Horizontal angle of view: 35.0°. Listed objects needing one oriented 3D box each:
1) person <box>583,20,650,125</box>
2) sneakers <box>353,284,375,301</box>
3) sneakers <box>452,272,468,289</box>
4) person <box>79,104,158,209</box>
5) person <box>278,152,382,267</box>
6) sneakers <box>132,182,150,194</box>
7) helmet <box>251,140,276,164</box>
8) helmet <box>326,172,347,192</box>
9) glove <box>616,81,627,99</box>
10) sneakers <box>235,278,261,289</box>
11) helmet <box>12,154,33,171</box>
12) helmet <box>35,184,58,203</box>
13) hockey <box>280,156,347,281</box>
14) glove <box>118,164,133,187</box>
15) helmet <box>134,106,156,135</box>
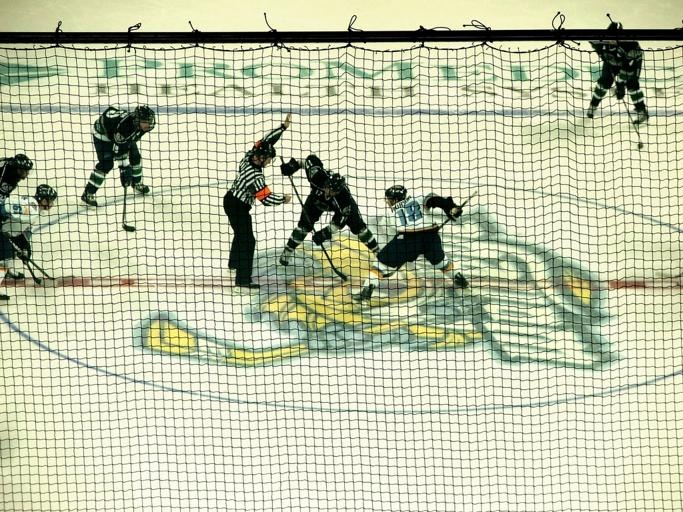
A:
[{"bbox_3d":[2.856,-1.933,11.345,0.746,0.867,0.465,-11,36,-10],"label":"person"},{"bbox_3d":[0.227,0.365,10.674,0.153,0.071,0.200,17,-44,-28],"label":"sneakers"},{"bbox_3d":[1.176,0.228,10.816,0.124,0.168,0.049,-31,23,45],"label":"sneakers"},{"bbox_3d":[-2.350,-1.047,11.449,0.697,1.092,0.464,6,3,-11],"label":"person"},{"bbox_3d":[-0.102,-0.361,10.932,1.182,1.218,0.691,4,36,0],"label":"person"},{"bbox_3d":[-2.174,-0.746,11.681,0.172,0.067,0.082,22,35,-25],"label":"sneakers"},{"bbox_3d":[-0.795,-1.039,10.844,0.284,0.214,0.196,-1,13,-18],"label":"helmet"},{"bbox_3d":[-0.062,-0.737,10.772,0.166,0.147,0.195,3,-3,-1],"label":"helmet"},{"bbox_3d":[2.958,-1.753,11.495,0.155,0.233,0.059,10,38,24],"label":"glove"},{"bbox_3d":[-0.945,0.264,10.839,0.241,0.065,0.064,5,3,-10],"label":"sneakers"},{"bbox_3d":[-3.204,-0.943,10.851,0.121,0.157,0.229,8,4,27],"label":"helmet"},{"bbox_3d":[-3.033,-0.646,11.075,0.224,0.171,0.157,-10,13,-23],"label":"helmet"},{"bbox_3d":[-0.289,-0.341,11.043,0.245,1.460,0.087,-14,29,10],"label":"hockey"},{"bbox_3d":[-2.289,-0.863,11.499,0.157,0.222,0.247,-10,2,-36],"label":"glove"},{"bbox_3d":[-2.024,-1.413,11.349,0.240,0.250,0.276,-10,-16,-1],"label":"helmet"}]
